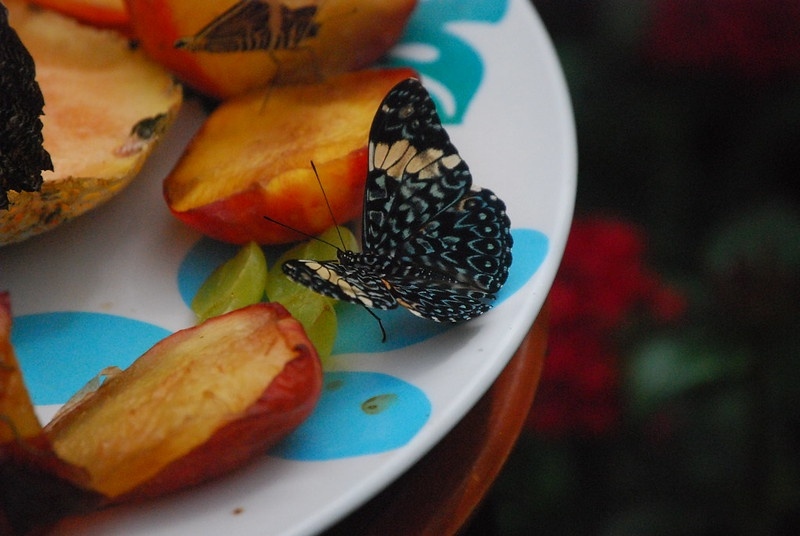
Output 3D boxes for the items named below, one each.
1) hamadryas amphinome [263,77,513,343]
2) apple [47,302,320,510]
[{"bbox_3d":[0.018,-0.046,0.663,0.165,0.157,0.127,24,22,8],"label":"hamadryas amphinome"},{"bbox_3d":[-0.149,0.102,0.645,0.203,0.069,0.108,-27,43,0],"label":"apple"}]
